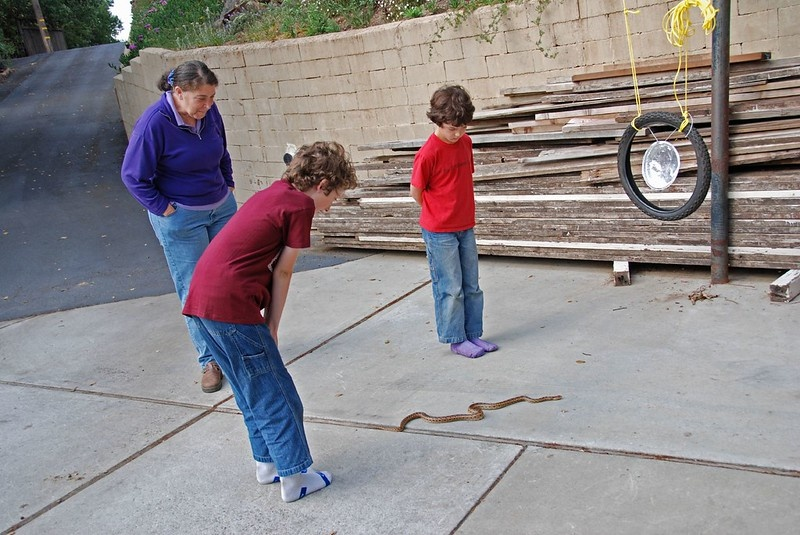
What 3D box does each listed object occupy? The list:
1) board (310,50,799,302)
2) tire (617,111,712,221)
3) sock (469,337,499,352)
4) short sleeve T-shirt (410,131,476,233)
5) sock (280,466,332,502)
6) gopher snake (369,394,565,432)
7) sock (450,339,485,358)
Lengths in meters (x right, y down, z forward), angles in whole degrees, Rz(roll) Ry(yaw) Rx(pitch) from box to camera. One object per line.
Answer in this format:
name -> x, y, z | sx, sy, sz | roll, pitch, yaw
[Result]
board -> 1.918, -1.022, 5.879 | 3.767, 1.337, 2.899 | 3, 9, 23
tire -> 2.505, -0.954, 4.871 | 0.142, 0.891, 0.927 | -8, 33, -35
sock -> 0.703, 0.659, 4.434 | 0.096, 0.097, 0.250 | -20, 25, -39
short sleeve T-shirt -> 0.368, -0.685, 4.236 | 0.556, 0.799, 0.290 | -10, 17, -7
sock -> -0.566, 1.305, 3.093 | 0.247, 0.219, 0.102 | -23, 37, -28
gopher snake -> 0.530, 0.996, 3.582 | 1.119, 0.056, 0.396 | -8, 1, 5
sock -> 0.562, 0.676, 4.340 | 0.222, 0.082, 0.133 | 1, 15, 39
